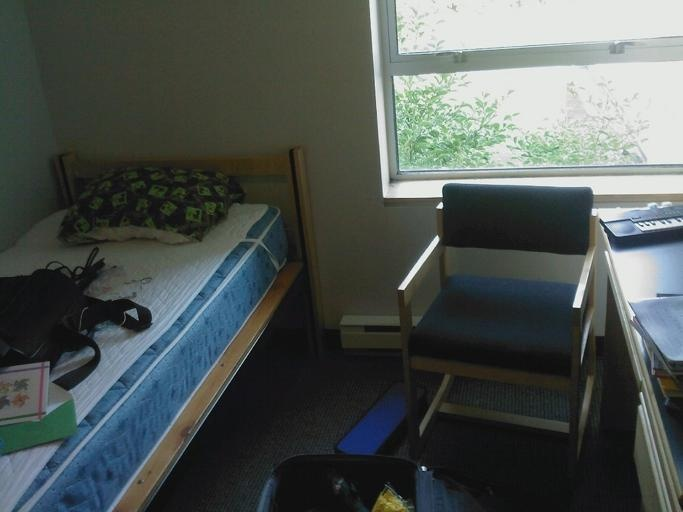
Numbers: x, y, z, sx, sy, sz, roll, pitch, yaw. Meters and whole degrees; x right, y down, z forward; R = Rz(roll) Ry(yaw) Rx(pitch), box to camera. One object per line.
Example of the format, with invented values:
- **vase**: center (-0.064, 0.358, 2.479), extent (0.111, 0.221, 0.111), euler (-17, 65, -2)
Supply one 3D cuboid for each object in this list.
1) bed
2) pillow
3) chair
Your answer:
- **bed**: center (-0.659, 0.360, 2.492), extent (1.144, 1.024, 1.370), euler (1, 54, 5)
- **pillow**: center (-0.894, -0.234, 2.364), extent (0.525, 0.161, 0.450), euler (4, 42, 12)
- **chair**: center (0.601, 0.252, 2.015), extent (0.639, 0.938, 0.612), euler (5, 25, 21)
